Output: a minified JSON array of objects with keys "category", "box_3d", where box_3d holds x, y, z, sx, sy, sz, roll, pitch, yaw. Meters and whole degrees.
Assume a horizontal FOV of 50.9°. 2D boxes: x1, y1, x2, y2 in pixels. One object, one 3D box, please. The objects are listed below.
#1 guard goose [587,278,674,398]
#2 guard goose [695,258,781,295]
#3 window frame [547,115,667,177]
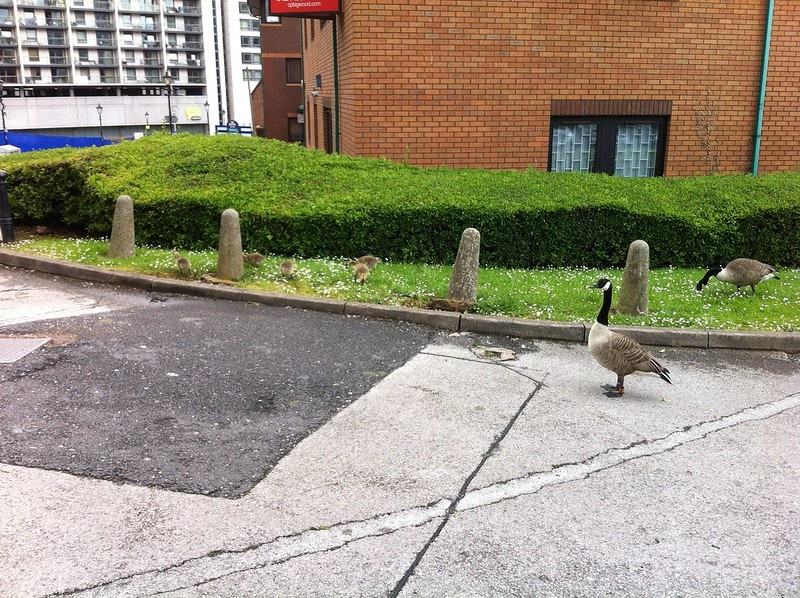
[{"category":"guard goose","box_3d":[2.685,0.371,9.992,0.940,1.078,0.465,10,14,34]},{"category":"guard goose","box_3d":[5.524,-0.407,13.714,1.461,0.606,0.539,-12,0,7]},{"category":"window frame","box_3d":[4.816,-3.698,19.841,1.805,1.152,0.160,-1,19,-8]}]
